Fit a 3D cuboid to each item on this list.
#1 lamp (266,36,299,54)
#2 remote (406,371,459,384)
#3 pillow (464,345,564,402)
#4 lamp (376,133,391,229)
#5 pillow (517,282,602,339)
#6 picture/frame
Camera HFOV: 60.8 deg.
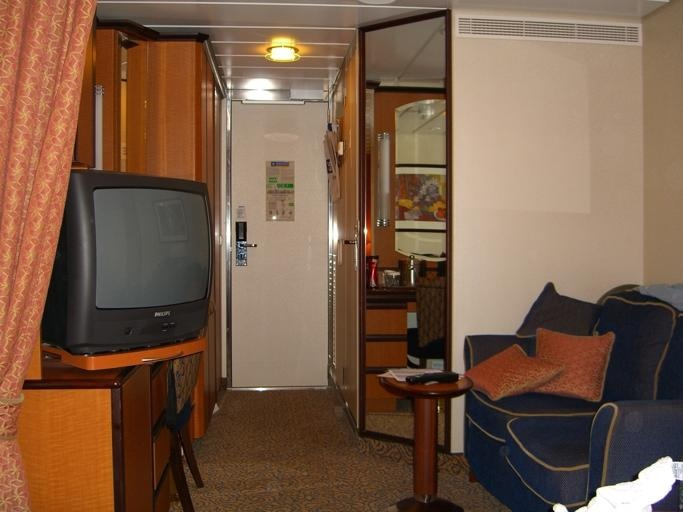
[{"bbox_3d":[-0.448,-1.563,4.430,0.266,0.077,0.410,-1,4,-5],"label":"lamp"},{"bbox_3d":[0.494,0.660,3.173,0.249,0.053,0.101,0,-3,-10],"label":"remote"},{"bbox_3d":[0.948,0.648,3.244,0.303,0.098,0.322,-28,26,-14],"label":"pillow"},{"bbox_3d":[0.298,-0.528,4.022,0.091,0.643,0.041,0,3,0],"label":"lamp"},{"bbox_3d":[1.325,0.361,3.525,0.331,0.338,0.101,17,-20,33],"label":"pillow"},{"bbox_3d":[0.546,-0.388,3.895,0.463,0.534,0.055,1,0,11],"label":"picture/frame"}]
